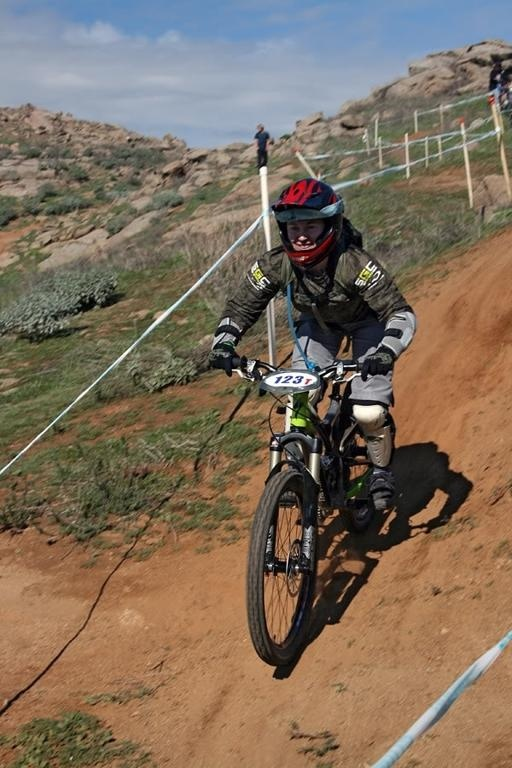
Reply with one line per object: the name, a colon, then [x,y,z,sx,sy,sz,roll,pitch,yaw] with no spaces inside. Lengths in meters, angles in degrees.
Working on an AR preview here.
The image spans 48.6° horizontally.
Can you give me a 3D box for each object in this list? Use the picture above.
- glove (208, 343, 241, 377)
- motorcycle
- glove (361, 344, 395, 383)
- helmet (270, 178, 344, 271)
glove: [-0.151,-0.109,3.166,0.173,0.076,0.172,-37,52,-8]
motorcycle: [0.536,0.572,3.358,0.764,1.100,1.917,-2,8,19]
glove: [0.607,-0.103,2.825,0.129,0.126,0.312,1,13,21]
helmet: [0.303,-0.921,3.226,0.377,0.462,0.498,4,26,23]
